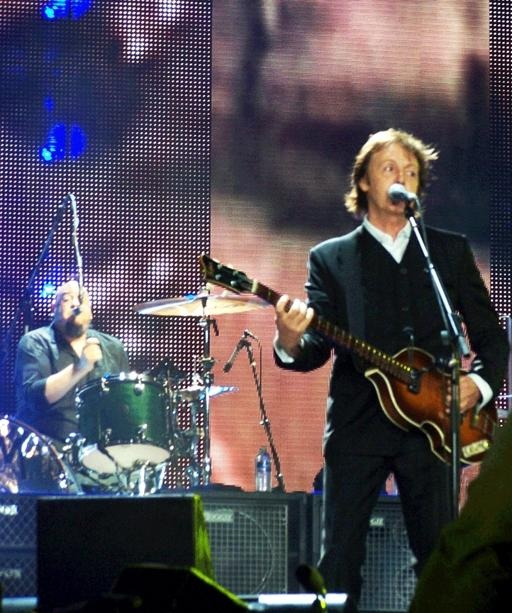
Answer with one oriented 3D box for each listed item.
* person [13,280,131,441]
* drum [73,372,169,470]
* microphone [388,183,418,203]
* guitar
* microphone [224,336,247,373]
[{"bbox_3d":[-0.918,0.350,6.193,0.496,0.898,0.485,-5,-3,40],"label":"person"},{"bbox_3d":[-0.619,0.500,5.626,0.390,0.309,0.417,-5,-30,-3],"label":"drum"},{"bbox_3d":[0.534,-0.402,4.478,0.046,0.050,0.132,23,9,-12],"label":"microphone"},{"bbox_3d":[0.430,0.304,4.367,1.434,0.521,0.145,37,-38,-27],"label":"guitar"},{"bbox_3d":[-0.105,0.252,6.277,0.041,0.214,0.036,30,32,7],"label":"microphone"}]
